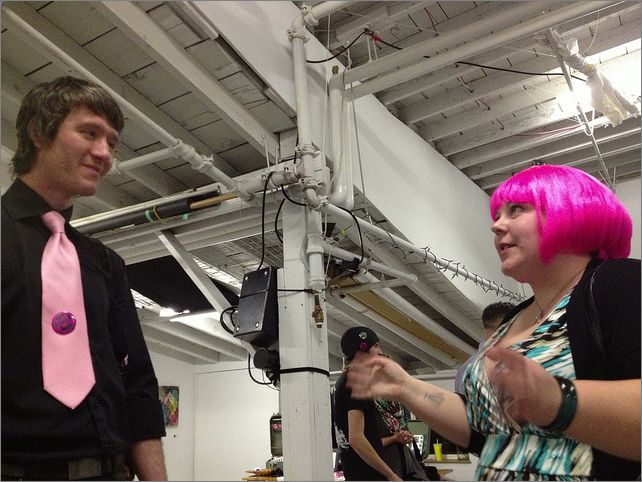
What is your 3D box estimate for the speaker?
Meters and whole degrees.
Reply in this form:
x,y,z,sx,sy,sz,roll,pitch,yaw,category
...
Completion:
x,y,z,sx,sy,sz,roll,pitch,yaw,category
-0.418,0.448,3.207,0.283,0.525,0.195,-15,-28,19,speaker
